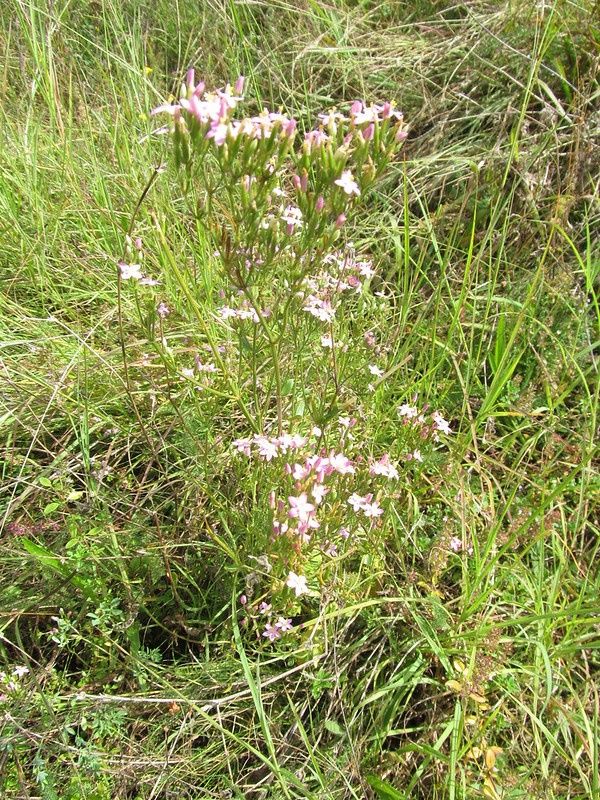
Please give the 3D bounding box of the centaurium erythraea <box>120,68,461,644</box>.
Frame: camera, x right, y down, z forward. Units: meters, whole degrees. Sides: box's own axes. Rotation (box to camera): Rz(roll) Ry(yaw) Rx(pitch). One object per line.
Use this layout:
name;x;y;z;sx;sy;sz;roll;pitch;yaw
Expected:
centaurium erythraea;-0.028;-0.243;2.727;0.861;1.920;2.066;-4;75;0
